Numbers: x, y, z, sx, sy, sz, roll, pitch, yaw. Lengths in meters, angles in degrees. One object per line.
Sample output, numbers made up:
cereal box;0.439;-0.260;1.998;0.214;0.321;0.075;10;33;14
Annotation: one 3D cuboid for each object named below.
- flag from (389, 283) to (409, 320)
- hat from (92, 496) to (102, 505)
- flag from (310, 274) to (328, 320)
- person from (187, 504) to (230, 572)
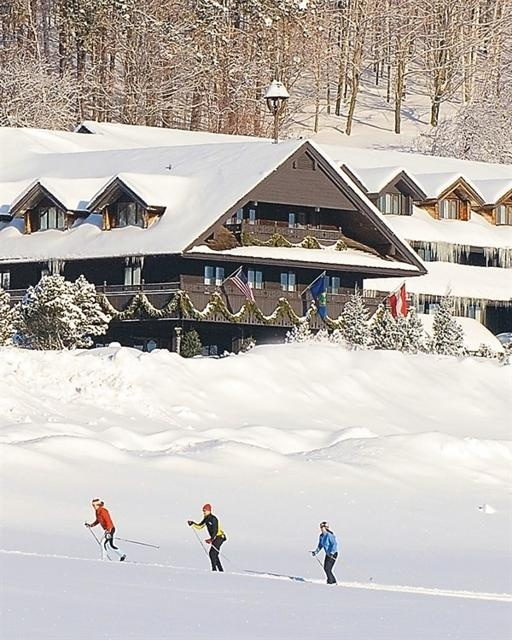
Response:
flag;4.688;-0.749;58.720;0.627;1.049;1.688;6;10;4
hat;-2.925;3.348;32.841;0.242;0.080;0.256;5;6;26
flag;2.087;-0.915;58.870;0.635;1.397;2.328;6;10;2
person;-0.861;3.863;32.419;0.657;1.453;2.385;5;10;-1
